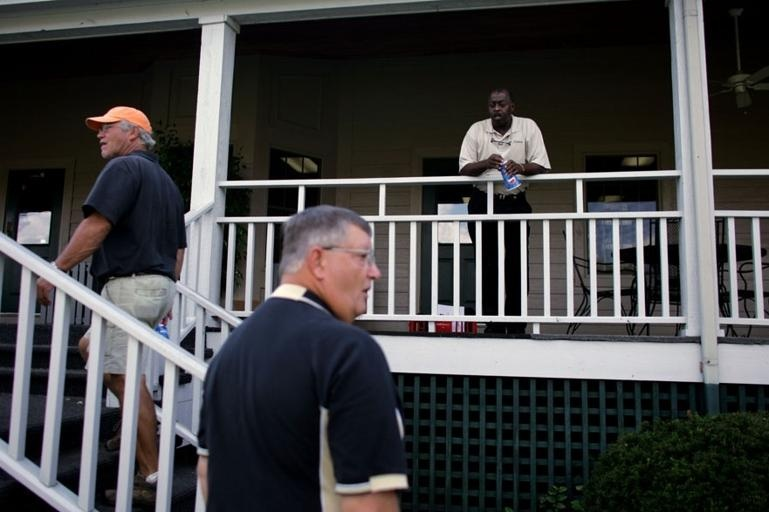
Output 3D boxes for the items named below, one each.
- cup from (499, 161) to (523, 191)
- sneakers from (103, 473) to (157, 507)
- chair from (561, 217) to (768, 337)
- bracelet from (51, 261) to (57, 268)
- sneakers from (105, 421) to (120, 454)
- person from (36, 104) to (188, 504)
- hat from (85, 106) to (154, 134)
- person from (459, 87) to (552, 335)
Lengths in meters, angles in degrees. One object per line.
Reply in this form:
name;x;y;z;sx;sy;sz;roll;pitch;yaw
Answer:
cup;1.327;-0.819;9.094;0.242;0.276;0.440;0;-2;9
sneakers;-2.162;2.001;7.372;0.554;0.266;0.206;2;-7;7
chair;3.727;0.250;10.839;2.582;1.620;3.886;0;-2;14
bracelet;-2.831;0.084;7.401;0.042;0.055;0.375;1;-2;-21
sneakers;-2.505;1.690;7.991;0.118;0.165;0.369;4;6;-27
person;-2.286;0.380;7.624;1.017;3.479;0.707;1;-3;-14
hat;-2.454;-1.256;7.934;0.596;0.234;0.389;6;1;-10
person;1.275;-0.514;9.350;0.957;2.690;0.921;0;-3;12
